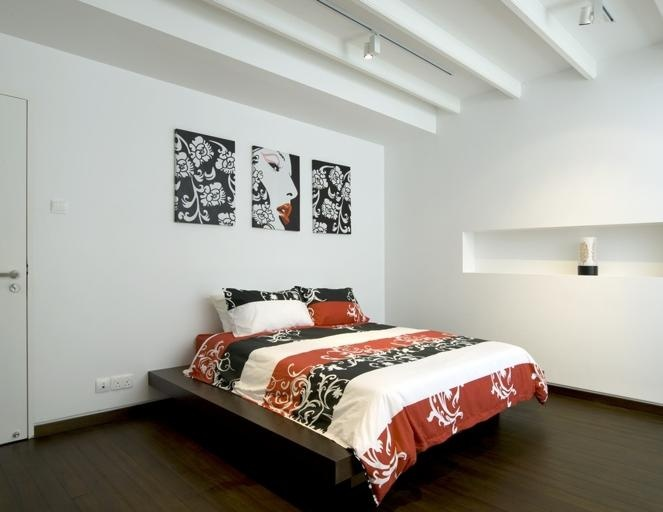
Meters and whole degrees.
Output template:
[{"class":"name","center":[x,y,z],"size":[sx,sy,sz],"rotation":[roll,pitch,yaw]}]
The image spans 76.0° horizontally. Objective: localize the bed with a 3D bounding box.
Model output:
[{"class":"bed","center":[-0.043,0.905,3.003],"size":[1.481,0.380,1.393],"rotation":[1,-3,-42]}]
